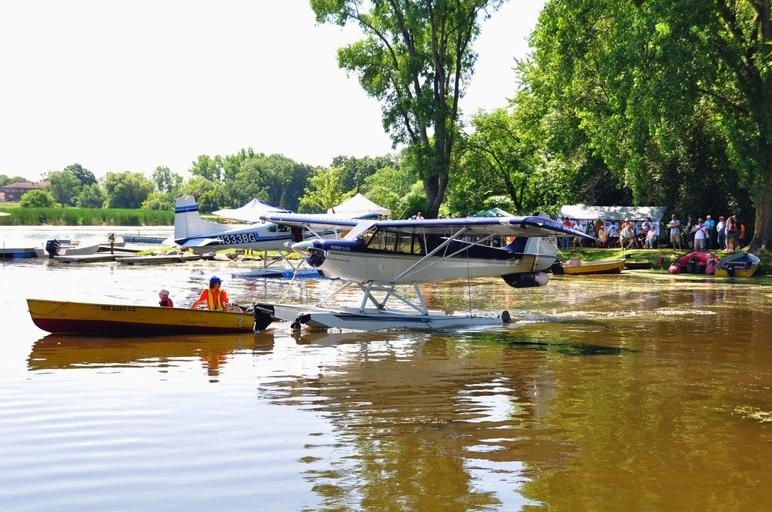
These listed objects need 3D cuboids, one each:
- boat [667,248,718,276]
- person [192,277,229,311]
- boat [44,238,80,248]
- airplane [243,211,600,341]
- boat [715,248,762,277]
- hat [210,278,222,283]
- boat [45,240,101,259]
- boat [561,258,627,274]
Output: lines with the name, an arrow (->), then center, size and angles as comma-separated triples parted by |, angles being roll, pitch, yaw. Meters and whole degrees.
boat -> 12.952, 0.277, 39.256 | 1.992, 0.975, 0.956 | 1, 2, 38
person -> -5.344, 1.161, 28.340 | 0.428, 0.982, 0.949 | 3, 4, 18
boat -> -17.455, -0.630, 50.217 | 1.300, 0.572, 2.018 | 1, 1, 1
airplane -> 1.499, 0.245, 27.340 | 5.346, 1.980, 5.705 | 5, -5, -29
boat -> 14.270, 0.367, 38.025 | 1.645, 0.958, 0.917 | 0, 2, 16
hat -> -4.755, 0.667, 26.049 | 0.247, 0.079, 0.158 | 0, 2, 2
boat -> -16.442, -0.323, 49.215 | 1.276, 0.762, 3.351 | 9, 6, 35
boat -> 8.779, 0.475, 39.710 | 2.481, 0.479, 0.998 | -1, 5, 10
